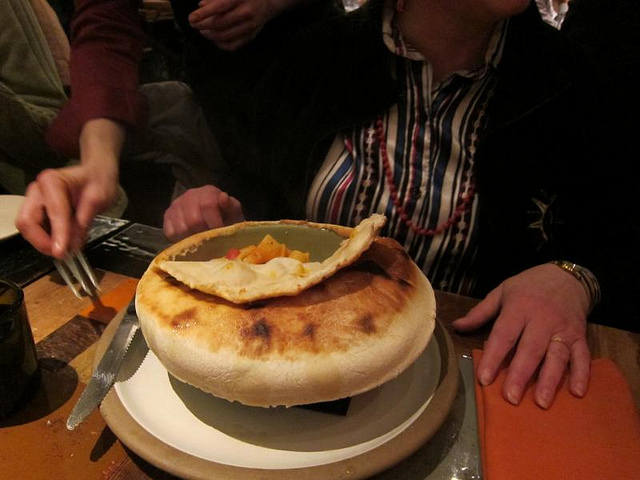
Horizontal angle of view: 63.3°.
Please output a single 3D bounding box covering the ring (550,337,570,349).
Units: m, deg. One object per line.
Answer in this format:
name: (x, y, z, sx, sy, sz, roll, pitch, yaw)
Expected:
ring: (0.627, 0.266, 1.343, 0.029, 0.007, 0.030, -1, 45, 1)
